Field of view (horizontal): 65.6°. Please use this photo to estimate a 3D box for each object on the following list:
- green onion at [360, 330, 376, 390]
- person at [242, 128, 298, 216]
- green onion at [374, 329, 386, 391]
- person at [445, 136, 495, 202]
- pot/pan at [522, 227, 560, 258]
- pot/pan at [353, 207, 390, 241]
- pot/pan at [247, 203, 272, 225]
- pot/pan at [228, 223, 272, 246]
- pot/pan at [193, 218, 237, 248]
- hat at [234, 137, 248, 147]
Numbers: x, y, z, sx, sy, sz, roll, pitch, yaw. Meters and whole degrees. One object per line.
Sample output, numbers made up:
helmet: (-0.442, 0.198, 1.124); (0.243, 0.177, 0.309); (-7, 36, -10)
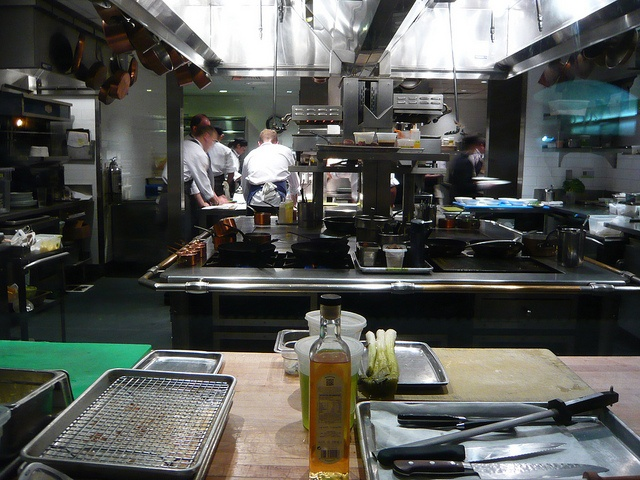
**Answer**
green onion: (0.144, 0.349, 1.456); (0.043, 0.201, 0.032); (3, 49, 13)
person: (-0.608, -0.876, 5.811); (0.659, 0.959, 1.042); (2, 5, -2)
green onion: (0.171, 0.321, 1.400); (0.033, 0.110, 0.139); (2, 5, 7)
person: (2.123, -1.083, 7.281); (0.441, 0.992, 0.888); (3, 5, 17)
pot/pan: (1.408, 0.005, 3.147); (0.166, 0.157, 0.243); (7, 13, 39)
pot/pan: (0.321, -0.087, 3.232); (0.179, 0.174, 0.207); (1, 1, -1)
pot/pan: (-0.554, -0.227, 4.423); (0.164, 0.170, 0.444); (-1, 2, -12)
pot/pan: (-0.420, -0.034, 3.033); (0.223, 0.081, 0.125); (0, 4, 6)
pot/pan: (-0.660, -0.055, 3.217); (0.325, 0.209, 0.177); (-9, 0, 20)
hat: (-1.361, -1.668, 8.399); (0.227, 0.173, 0.165); (-11, 21, -37)
